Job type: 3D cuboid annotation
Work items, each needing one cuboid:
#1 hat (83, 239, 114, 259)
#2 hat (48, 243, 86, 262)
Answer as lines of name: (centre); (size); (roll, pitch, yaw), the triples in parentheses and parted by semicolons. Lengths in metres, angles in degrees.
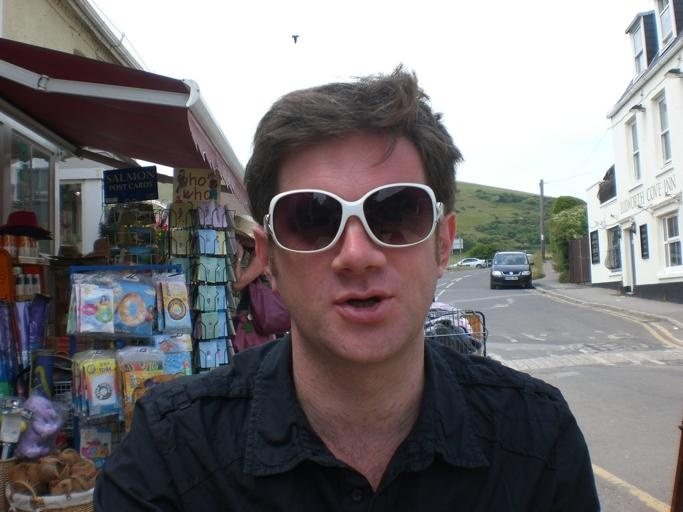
hat: (-2.550, -0.074, 6.174); (0.249, 0.348, 0.251); (1, -2, -39)
hat: (-3.297, -0.014, 7.080); (0.439, 0.232, 0.585); (-1, -3, -23)
